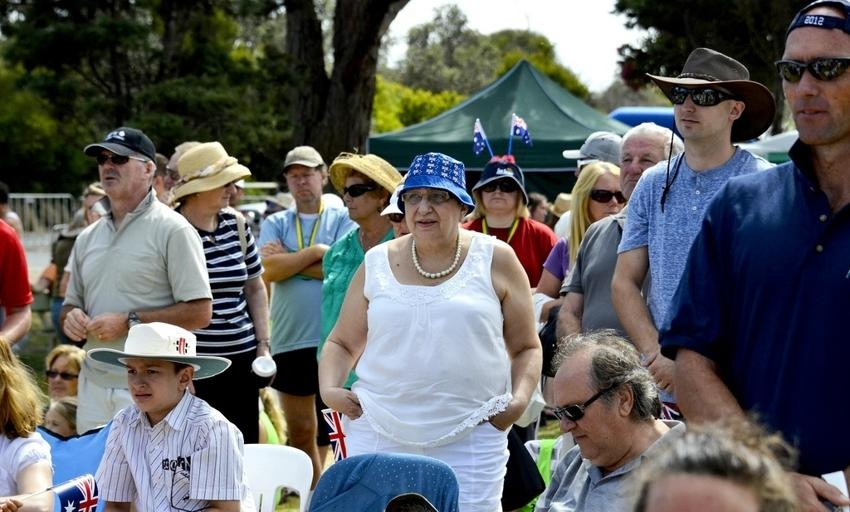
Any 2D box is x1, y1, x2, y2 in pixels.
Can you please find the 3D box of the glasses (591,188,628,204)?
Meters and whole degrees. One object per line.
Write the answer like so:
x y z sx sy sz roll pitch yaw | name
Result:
2.043 -0.672 19.623 0.407 0.161 0.078 -1 0 5 | glasses

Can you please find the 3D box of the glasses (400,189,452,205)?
0.020 -0.614 18.276 0.485 0.156 0.083 -1 0 10 | glasses

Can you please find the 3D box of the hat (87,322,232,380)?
-2.805 0.997 18.588 1.422 0.605 0.655 -1 0 2 | hat

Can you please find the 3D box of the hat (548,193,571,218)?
1.854 -0.701 23.616 0.267 0.118 0.298 -39 -13 -46 | hat

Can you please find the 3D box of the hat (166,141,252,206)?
-2.434 -0.948 19.766 0.844 0.683 0.473 -1 0 -8 | hat

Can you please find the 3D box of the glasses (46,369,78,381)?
-4.220 1.379 20.401 0.423 0.071 0.097 -1 0 15 | glasses

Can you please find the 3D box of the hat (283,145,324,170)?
-1.416 -1.159 20.573 0.468 0.271 0.312 -1 0 -12 | hat

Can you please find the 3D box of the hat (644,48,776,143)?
3.000 -1.576 18.055 1.166 0.454 1.017 36 -24 -30 | hat
